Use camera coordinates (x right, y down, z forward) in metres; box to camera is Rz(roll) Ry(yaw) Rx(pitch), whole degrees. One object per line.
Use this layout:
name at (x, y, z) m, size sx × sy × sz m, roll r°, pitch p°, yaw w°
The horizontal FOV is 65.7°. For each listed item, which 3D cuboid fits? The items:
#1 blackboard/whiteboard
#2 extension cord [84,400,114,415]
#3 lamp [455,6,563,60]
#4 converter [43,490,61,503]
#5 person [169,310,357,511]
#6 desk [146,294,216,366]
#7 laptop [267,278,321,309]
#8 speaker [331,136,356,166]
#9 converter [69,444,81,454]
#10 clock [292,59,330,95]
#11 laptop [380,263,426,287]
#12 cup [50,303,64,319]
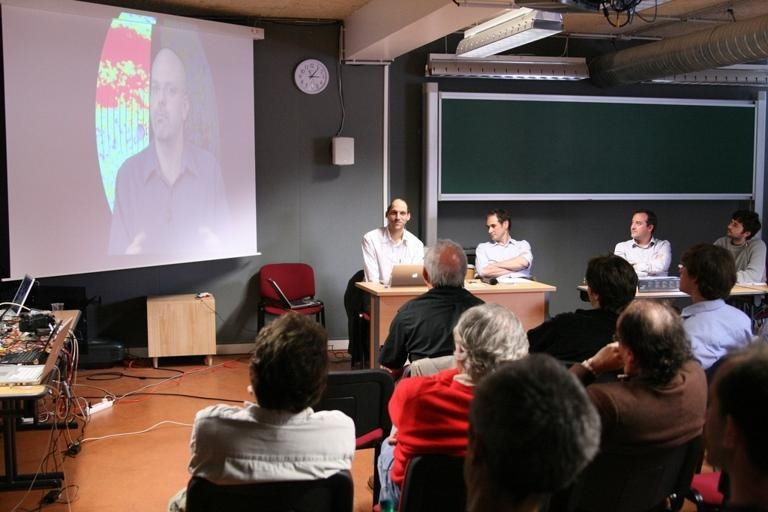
blackboard/whiteboard at (2.599, -1.289, 7.123) m, size 4.042 × 1.177 × 0.314 m, roll -2°, pitch 13°, yaw -12°
extension cord at (-2.425, 1.257, 5.020) m, size 0.091 × 0.057 × 0.156 m, roll 1°, pitch 2°, yaw 34°
lamp at (1.114, -1.997, 5.341) m, size 0.306 × 0.313 × 1.109 m, roll -5°, pitch 14°, yaw -27°
converter at (-2.168, 1.538, 3.855) m, size 0.104 × 0.046 × 0.101 m, roll -5°, pitch 14°, yaw -25°
person at (-0.477, 0.667, 2.897) m, size 0.732 × 0.970 × 0.821 m, roll 3°, pitch 2°, yaw -9°
desk at (-2.079, 0.689, 6.217) m, size 0.700 × 0.722 × 0.687 m, roll 3°, pitch 5°, yaw 43°
laptop at (-0.903, 0.414, 6.174) m, size 0.380 × 0.237 × 0.385 m, roll -2°, pitch 1°, yaw 12°
speaker at (-0.466, -1.152, 6.532) m, size 0.315 × 0.311 × 0.173 m, roll -1°, pitch 4°, yaw -12°
converter at (-2.285, 1.394, 4.357) m, size 0.068 × 0.045 × 0.068 m, roll -4°, pitch 4°, yaw -13°
clock at (-0.810, -1.920, 6.582) m, size 0.371 × 0.379 × 0.363 m, roll -3°, pitch 6°, yaw -36°
laptop at (0.201, 0.169, 5.192) m, size 0.266 × 0.164 × 0.197 m, roll -1°, pitch 27°, yaw -7°
cup at (-2.745, 0.452, 4.969) m, size 0.085 × 0.124 × 0.084 m, roll -1°, pitch -4°, yaw 0°
